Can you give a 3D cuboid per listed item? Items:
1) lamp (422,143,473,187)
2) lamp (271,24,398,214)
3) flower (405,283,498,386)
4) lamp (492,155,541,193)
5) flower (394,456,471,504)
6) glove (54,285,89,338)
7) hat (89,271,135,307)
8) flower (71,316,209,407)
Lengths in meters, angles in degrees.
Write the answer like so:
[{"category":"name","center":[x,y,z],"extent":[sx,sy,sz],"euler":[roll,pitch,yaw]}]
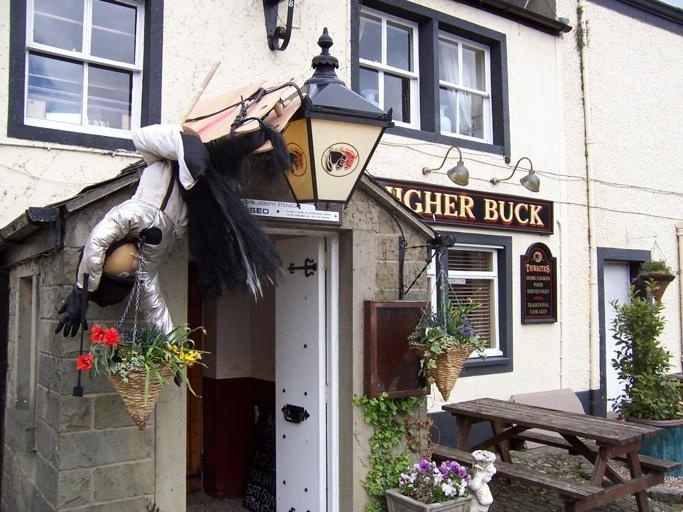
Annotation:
[{"category":"lamp","center":[1.393,-1.214,8.578],"extent":[0.624,0.527,0.250],"euler":[14,11,43]},{"category":"lamp","center":[-0.158,-1.075,5.593],"extent":[1.082,1.597,0.909],"euler":[3,-4,-42]},{"category":"flower","center":[1.007,0.811,6.314],"extent":[0.752,0.991,0.813],"euler":[8,-12,-7]},{"category":"lamp","center":[2.502,-1.195,9.275],"extent":[0.658,0.524,0.270],"euler":[11,2,30]},{"category":"flower","center":[0.866,2.101,6.063],"extent":[0.398,0.251,0.396],"euler":[1,-2,-39]},{"category":"glove","center":[-2.026,0.416,4.851],"extent":[0.209,0.356,0.451],"euler":[4,-10,-29]},{"category":"hat","center":[-1.729,0.252,4.910],"extent":[0.327,0.222,0.213],"euler":[1,-9,-11]},{"category":"flower","center":[-1.574,0.881,4.978],"extent":[1.010,0.723,0.920],"euler":[5,0,-32]}]
